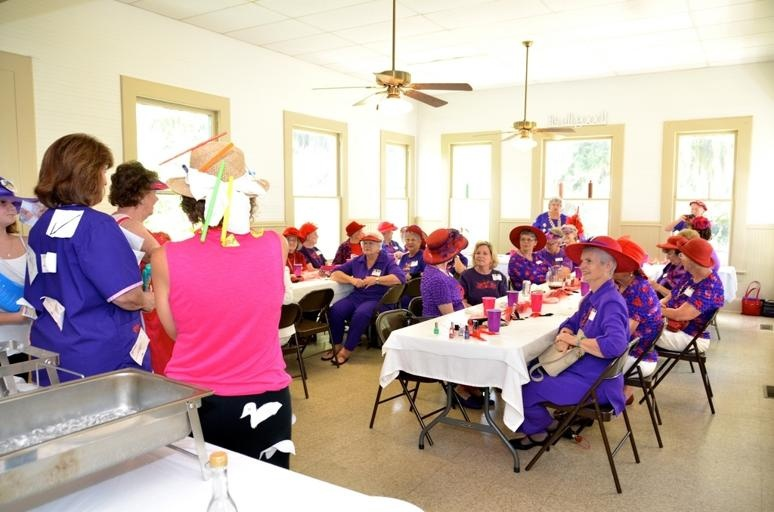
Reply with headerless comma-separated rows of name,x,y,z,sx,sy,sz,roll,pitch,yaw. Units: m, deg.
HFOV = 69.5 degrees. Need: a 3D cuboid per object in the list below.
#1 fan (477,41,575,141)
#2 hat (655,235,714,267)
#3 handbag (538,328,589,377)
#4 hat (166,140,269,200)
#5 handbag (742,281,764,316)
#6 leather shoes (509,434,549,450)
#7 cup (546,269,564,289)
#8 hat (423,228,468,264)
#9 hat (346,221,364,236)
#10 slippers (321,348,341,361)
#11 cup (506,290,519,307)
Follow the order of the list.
fan,2.234,-2.606,8.750,1.402,1.410,1.472,-2,9,-3
hat,2.522,-0.043,4.726,0.419,0.146,0.347,28,14,26
handbag,1.181,0.704,3.871,0.319,0.114,0.309,-36,10,12
hat,-0.716,-0.410,2.480,0.342,0.133,0.332,23,24,13
handbag,5.477,0.636,8.381,0.258,0.487,0.251,7,14,28
leather shoes,1.105,1.381,4.170,0.372,0.102,0.127,2,-2,-9
cup,1.702,0.235,5.653,0.223,0.226,0.213,0,-9,0
hat,0.514,-0.037,4.877,0.396,0.124,0.341,-22,30,20
hat,-0.405,-0.410,7.556,0.272,0.101,0.231,-36,2,-23
slippers,-0.613,1.072,6.102,0.115,0.053,0.215,-1,2,28
cup,1.102,0.369,4.816,0.152,0.162,0.118,-1,-7,29
